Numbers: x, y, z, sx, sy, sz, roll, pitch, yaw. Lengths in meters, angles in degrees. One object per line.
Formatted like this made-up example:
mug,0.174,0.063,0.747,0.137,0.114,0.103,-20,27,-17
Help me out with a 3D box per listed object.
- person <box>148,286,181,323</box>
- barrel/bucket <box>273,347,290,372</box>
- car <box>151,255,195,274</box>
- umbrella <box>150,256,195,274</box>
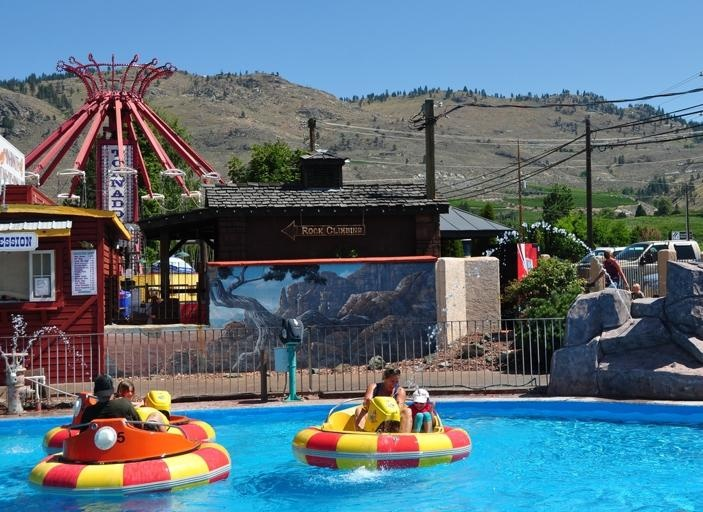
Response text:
person,-7.170,1.902,39.793,1.251,1.367,0.811,14,5,15
barrel/bucket,-1.905,2.831,28.701,0.378,0.672,0.542,-1,-3,-5
car,-9.354,0.518,56.630,2.249,0.834,2.078,0,-3,7
umbrella,-9.323,0.513,56.529,2.250,0.828,2.077,0,-3,5
